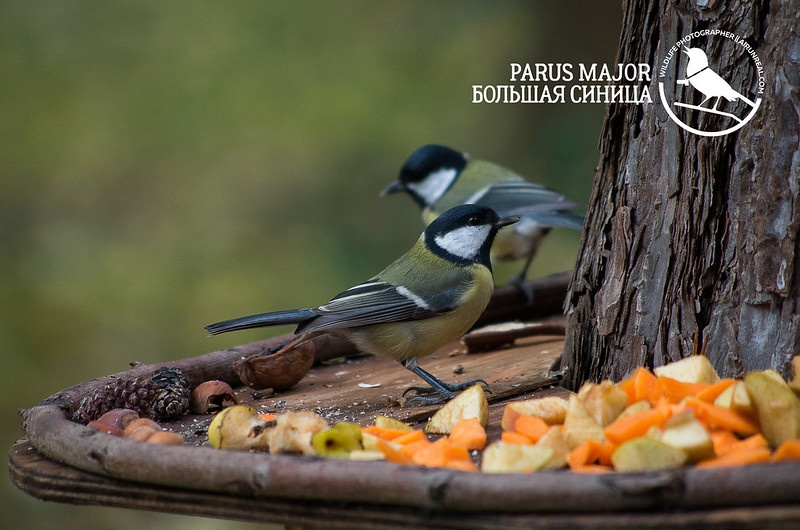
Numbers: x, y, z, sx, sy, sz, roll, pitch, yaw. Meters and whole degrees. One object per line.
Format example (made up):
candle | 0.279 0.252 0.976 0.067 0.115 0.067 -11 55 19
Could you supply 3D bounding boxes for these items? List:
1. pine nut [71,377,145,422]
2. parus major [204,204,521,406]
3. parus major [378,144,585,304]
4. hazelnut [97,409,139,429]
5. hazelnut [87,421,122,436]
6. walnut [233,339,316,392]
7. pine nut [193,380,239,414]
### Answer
pine nut | -1.144 0.532 3.316 0.186 0.072 0.128 -25 3 -31
parus major | -0.186 0.218 4.018 1.434 0.837 0.466 -6 -8 -8
parus major | 0.429 -0.286 6.934 2.240 1.317 1.106 0 -2 -20
hazelnut | -1.063 0.572 3.191 0.095 0.045 0.072 -6 12 -40
hazelnut | -1.076 0.585 3.083 0.086 0.032 0.087 16 -3 29
walnut | -0.566 0.460 3.791 0.230 0.167 0.263 -11 4 31
pine nut | -0.767 0.559 3.568 0.146 0.089 0.150 -25 -18 29
